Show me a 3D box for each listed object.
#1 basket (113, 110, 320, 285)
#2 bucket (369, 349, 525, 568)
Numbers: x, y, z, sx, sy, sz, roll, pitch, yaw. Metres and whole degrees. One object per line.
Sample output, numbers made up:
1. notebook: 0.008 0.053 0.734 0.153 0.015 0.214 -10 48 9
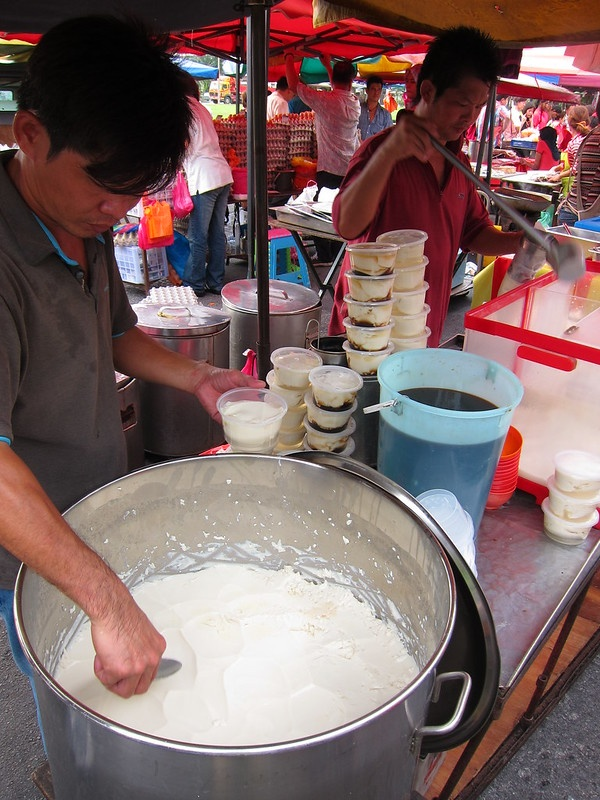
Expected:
1. basket: -0.952 -2.514 7.609 2.317 2.234 0.578 11 -17 7
2. bucket: 0.274 0.072 1.351 0.291 0.306 0.300 2 32 -1
